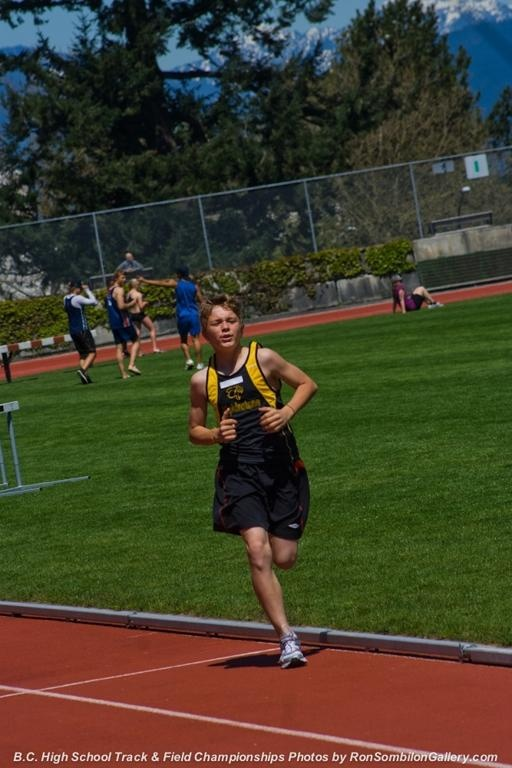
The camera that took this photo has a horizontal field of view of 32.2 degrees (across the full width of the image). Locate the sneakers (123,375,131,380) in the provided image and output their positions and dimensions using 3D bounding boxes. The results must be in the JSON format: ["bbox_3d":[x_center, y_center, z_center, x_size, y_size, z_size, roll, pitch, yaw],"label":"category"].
[{"bbox_3d":[-2.376,-0.143,16.423,0.127,0.047,0.548,-11,7,-7],"label":"sneakers"}]

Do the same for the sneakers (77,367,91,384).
[{"bbox_3d":[-3.313,-0.167,17.231,0.137,0.397,0.168,21,65,48],"label":"sneakers"}]

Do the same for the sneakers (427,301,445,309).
[{"bbox_3d":[4.383,-1.922,21.607,0.467,0.182,0.149,0,22,6],"label":"sneakers"}]

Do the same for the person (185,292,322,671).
[{"bbox_3d":[-0.030,0.410,4.031,0.574,1.631,0.682,-9,8,18],"label":"person"}]

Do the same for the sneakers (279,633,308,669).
[{"bbox_3d":[0.157,1.154,3.826,0.115,0.172,0.109,-12,8,-6],"label":"sneakers"}]

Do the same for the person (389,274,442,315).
[{"bbox_3d":[3.977,-2.260,21.784,1.482,0.939,0.805,-8,10,-11],"label":"person"}]
